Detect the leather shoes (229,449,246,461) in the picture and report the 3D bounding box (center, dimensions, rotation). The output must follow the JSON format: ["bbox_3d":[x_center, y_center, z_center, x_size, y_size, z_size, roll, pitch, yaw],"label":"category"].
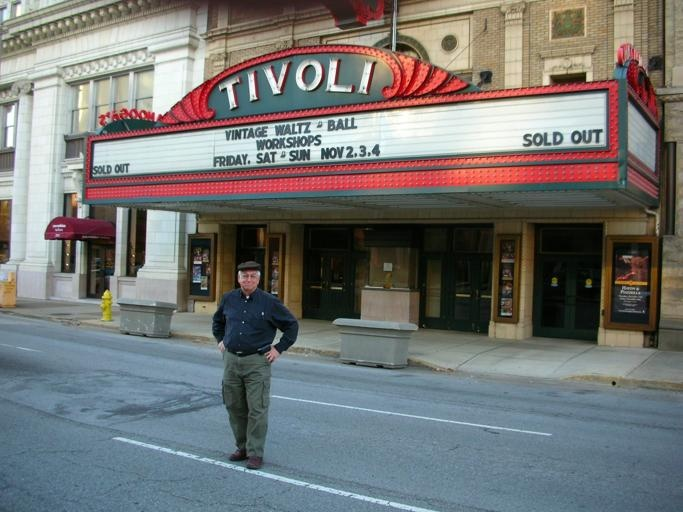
[{"bbox_3d":[-1.368,2.655,8.944,0.265,0.106,0.103,10,-10,-40],"label":"leather shoes"}]

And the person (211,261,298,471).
[{"bbox_3d":[-1.173,1.422,8.901,1.112,2.685,0.535,2,-3,-1],"label":"person"}]

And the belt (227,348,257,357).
[{"bbox_3d":[-1.299,1.258,8.731,0.365,0.084,0.090,2,-3,-1],"label":"belt"}]
